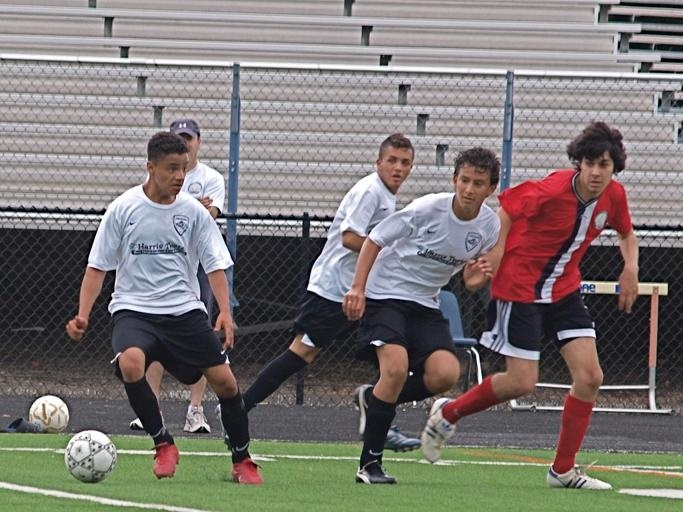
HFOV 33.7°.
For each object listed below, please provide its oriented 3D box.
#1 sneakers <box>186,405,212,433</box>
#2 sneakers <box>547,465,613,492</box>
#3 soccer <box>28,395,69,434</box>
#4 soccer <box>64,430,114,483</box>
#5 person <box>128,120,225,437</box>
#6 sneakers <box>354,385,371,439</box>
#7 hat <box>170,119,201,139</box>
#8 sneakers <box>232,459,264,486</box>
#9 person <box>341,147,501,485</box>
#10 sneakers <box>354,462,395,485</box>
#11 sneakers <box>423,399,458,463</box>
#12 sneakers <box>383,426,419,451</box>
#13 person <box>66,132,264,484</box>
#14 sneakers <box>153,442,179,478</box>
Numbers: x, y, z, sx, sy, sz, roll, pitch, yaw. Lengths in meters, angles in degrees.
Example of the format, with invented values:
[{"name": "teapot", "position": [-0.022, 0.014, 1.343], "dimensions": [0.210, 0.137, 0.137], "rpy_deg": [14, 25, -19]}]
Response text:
[{"name": "sneakers", "position": [-1.272, 1.436, 9.828], "dimensions": [0.129, 0.163, 0.330], "rpy_deg": [3, -8, -22]}, {"name": "sneakers", "position": [1.697, 1.568, 8.015], "dimensions": [0.492, 0.184, 0.166], "rpy_deg": [2, -8, 6]}, {"name": "soccer", "position": [-2.427, 1.348, 9.548], "dimensions": [0.304, 0.299, 0.313], "rpy_deg": [-7, -38, 32]}, {"name": "soccer", "position": [-1.698, 1.342, 7.599], "dimensions": [0.327, 0.317, 0.155], "rpy_deg": [0, 7, -11]}, {"name": "person", "position": [-1.436, 0.325, 9.398], "dimensions": [0.808, 2.491, 0.776], "rpy_deg": [-5, 8, -14]}, {"name": "sneakers", "position": [0.160, 1.213, 8.859], "dimensions": [0.164, 0.417, 0.127], "rpy_deg": [-5, 8, -5]}, {"name": "hat", "position": [-1.358, -1.129, 9.879], "dimensions": [0.181, 0.126, 0.260], "rpy_deg": [-2, -6, 3]}, {"name": "sneakers", "position": [-0.644, 1.463, 7.725], "dimensions": [0.188, 0.155, 0.216], "rpy_deg": [0, 7, -15]}, {"name": "person", "position": [0.558, 0.387, 8.049], "dimensions": [1.122, 2.344, 0.637], "rpy_deg": [0, 7, -11]}, {"name": "sneakers", "position": [0.240, 1.509, 7.888], "dimensions": [0.245, 0.111, 0.142], "rpy_deg": [-1, -3, 27]}, {"name": "sneakers", "position": [0.729, 1.252, 8.361], "dimensions": [0.230, 0.540, 0.182], "rpy_deg": [6, 2, 25]}, {"name": "sneakers", "position": [0.461, 1.452, 8.938], "dimensions": [0.374, 0.178, 0.137], "rpy_deg": [-6, -4, 41]}, {"name": "person", "position": [-1.212, 0.344, 7.805], "dimensions": [1.298, 2.385, 0.599], "rpy_deg": [2, 7, 1]}, {"name": "sneakers", "position": [-1.213, 1.397, 7.750], "dimensions": [0.163, 0.256, 0.216], "rpy_deg": [1, 7, -9]}]
